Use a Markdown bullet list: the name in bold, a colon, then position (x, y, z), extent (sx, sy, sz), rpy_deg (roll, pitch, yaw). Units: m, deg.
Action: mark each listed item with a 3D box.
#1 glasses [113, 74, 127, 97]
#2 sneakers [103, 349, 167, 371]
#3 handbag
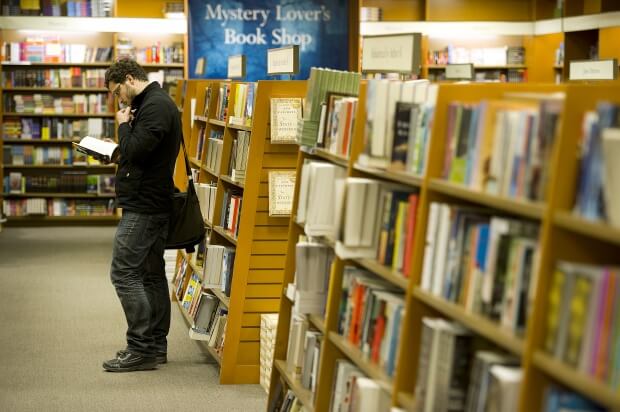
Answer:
- **glasses**: position (-1.553, -0.965, 4.083), extent (0.035, 0.126, 0.117), rpy_deg (-4, -7, -5)
- **sneakers**: position (-1.487, 1.284, 4.303), extent (0.508, 0.260, 0.183), rpy_deg (4, -4, -16)
- **handbag**: position (-1.080, 0.091, 4.312), extent (0.296, 0.626, 0.582), rpy_deg (8, -12, -32)
